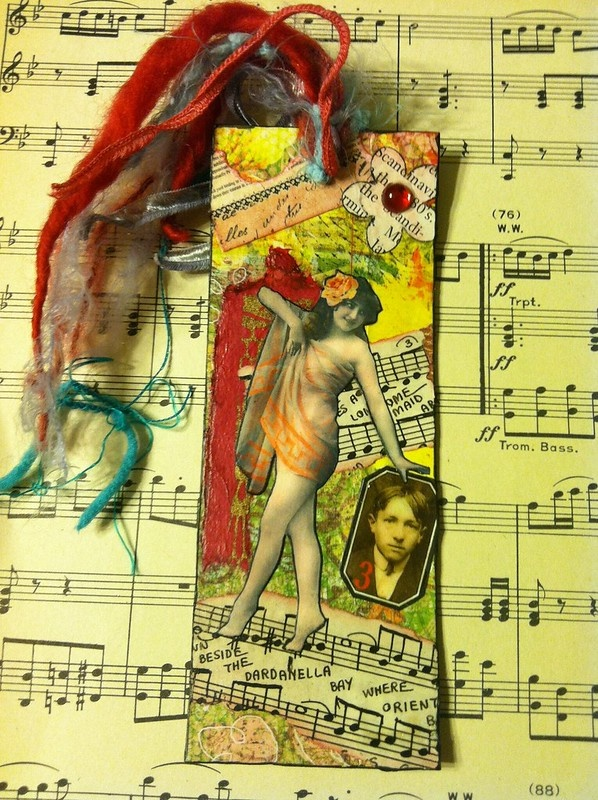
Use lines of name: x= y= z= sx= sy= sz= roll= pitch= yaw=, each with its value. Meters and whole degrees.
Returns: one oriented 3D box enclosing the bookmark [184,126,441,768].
bookmark: x=0.022 y=0.039 z=1.171 sx=0.298 sy=0.751 sz=0.010 roll=2 pitch=-4 yaw=-2
